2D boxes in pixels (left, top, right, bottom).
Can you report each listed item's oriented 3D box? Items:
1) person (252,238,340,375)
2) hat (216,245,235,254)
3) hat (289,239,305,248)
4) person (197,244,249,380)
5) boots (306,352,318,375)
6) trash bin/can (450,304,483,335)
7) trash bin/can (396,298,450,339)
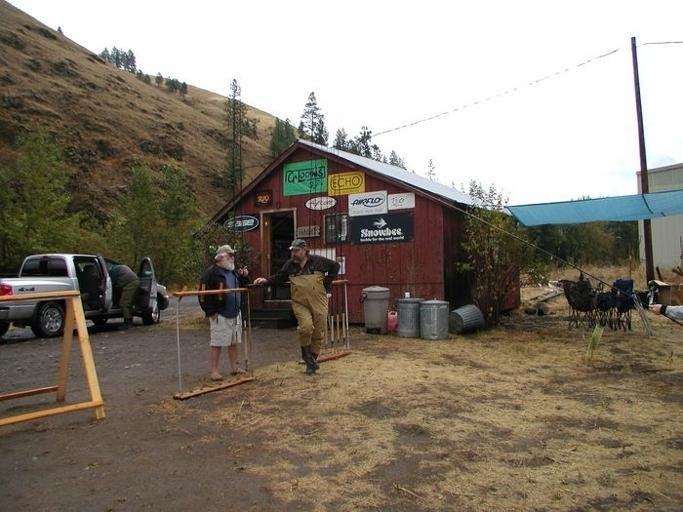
[{"bbox_3d":[-0.638,0.839,9.431,0.841,2.208,0.955,4,10,28],"label":"person"},{"bbox_3d":[-1.917,-0.092,8.990,0.350,0.160,0.262,1,-1,-14],"label":"hat"},{"bbox_3d":[-0.728,-0.184,9.287,0.173,0.147,0.261,0,-10,27],"label":"hat"},{"bbox_3d":[-1.935,0.957,9.103,0.765,2.239,1.350,-3,9,-11],"label":"person"},{"bbox_3d":[-0.509,1.778,9.175,0.198,0.316,0.389,-2,9,-4],"label":"boots"},{"bbox_3d":[2.972,1.542,12.905,0.866,0.587,0.442,-8,11,-35],"label":"trash bin/can"},{"bbox_3d":[1.825,1.440,12.384,1.159,0.848,0.522,5,11,32],"label":"trash bin/can"}]
